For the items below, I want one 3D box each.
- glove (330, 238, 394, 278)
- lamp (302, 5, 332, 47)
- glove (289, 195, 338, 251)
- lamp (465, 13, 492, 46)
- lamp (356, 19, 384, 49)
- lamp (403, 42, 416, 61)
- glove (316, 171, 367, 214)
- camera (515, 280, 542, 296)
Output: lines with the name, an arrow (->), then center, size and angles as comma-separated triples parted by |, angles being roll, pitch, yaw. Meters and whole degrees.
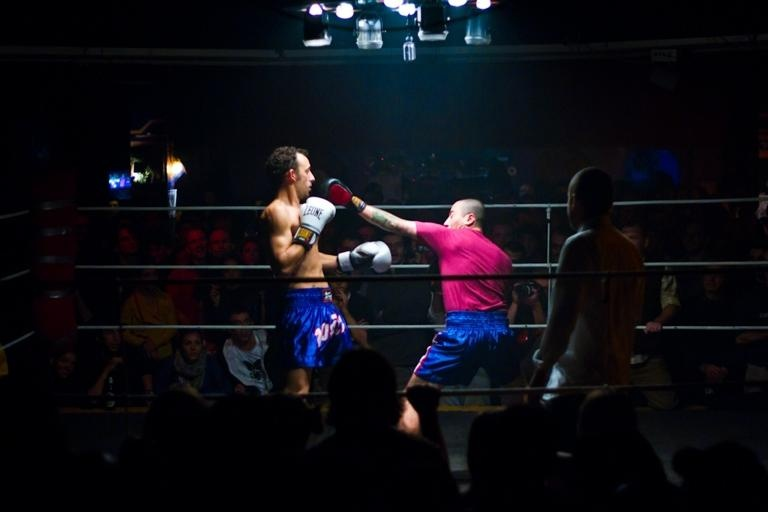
glove -> -0.136, 0.025, 4.953 | 0.404, 0.184, 0.292 | -5, 5, -6
lamp -> -0.455, -1.587, 4.902 | 0.170, 0.260, 0.208 | 1, 7, -4
glove -> -0.486, -0.237, 4.775 | 0.272, 0.381, 0.132 | 4, 41, -10
lamp -> 0.671, -1.544, 4.998 | 0.175, 0.259, 0.192 | -4, -4, 18
lamp -> -0.104, -1.511, 4.940 | 0.205, 0.265, 0.179 | 0, -2, -6
lamp -> 0.181, -1.451, 5.053 | 0.073, 0.130, 0.212 | 2, 7, 6
glove -> -0.304, -0.420, 4.900 | 0.344, 0.122, 0.236 | 26, 14, -18
camera -> 0.979, 0.214, 4.860 | 0.130, 0.112, 0.119 | 0, -14, 8
